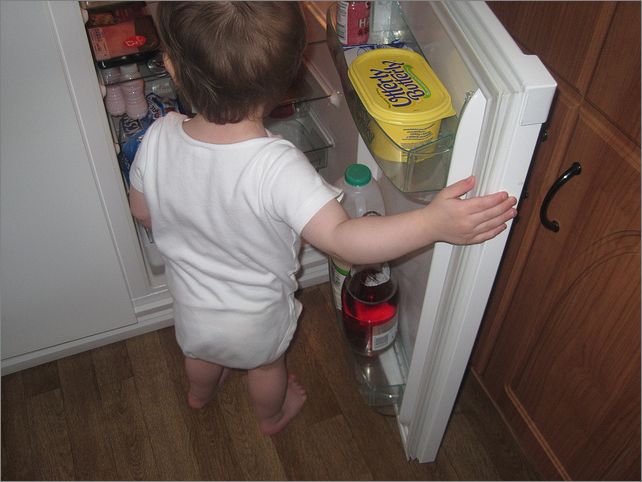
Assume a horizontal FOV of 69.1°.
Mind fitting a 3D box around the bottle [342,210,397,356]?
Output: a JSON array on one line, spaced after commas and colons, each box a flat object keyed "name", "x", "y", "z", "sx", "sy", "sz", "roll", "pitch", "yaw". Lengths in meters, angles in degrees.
[{"name": "bottle", "x": 0.112, "y": 0.116, "z": 1.143, "sx": 0.117, "sy": 0.357, "sz": 0.133, "roll": -2, "pitch": 44, "yaw": -10}]

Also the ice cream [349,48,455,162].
[{"name": "ice cream", "x": 0.136, "y": -0.249, "z": 0.863, "sx": 0.131, "sy": 0.138, "sz": 0.234, "roll": -13, "pitch": 44, "yaw": -10}]
